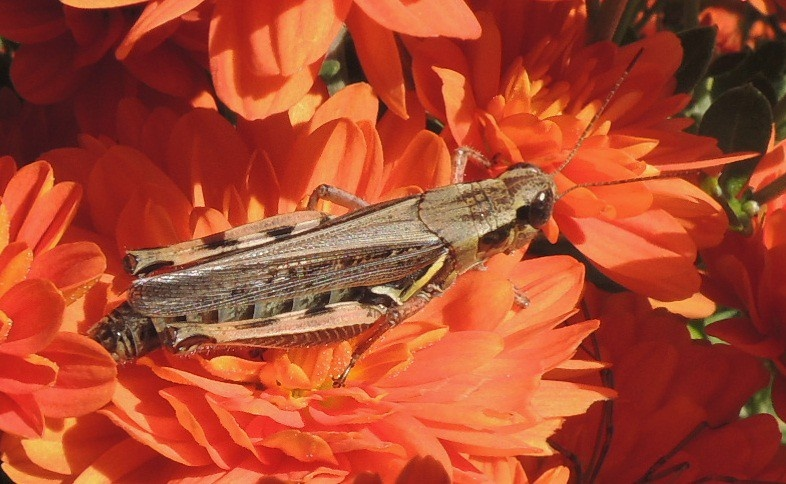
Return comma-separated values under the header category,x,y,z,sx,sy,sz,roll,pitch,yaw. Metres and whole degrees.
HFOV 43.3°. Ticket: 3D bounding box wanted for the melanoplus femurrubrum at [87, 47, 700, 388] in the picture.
category,x,y,z,sx,sy,sz,roll,pitch,yaw
melanoplus femurrubrum,-0.016,0.007,1.322,0.793,0.229,0.270,-17,63,-9
